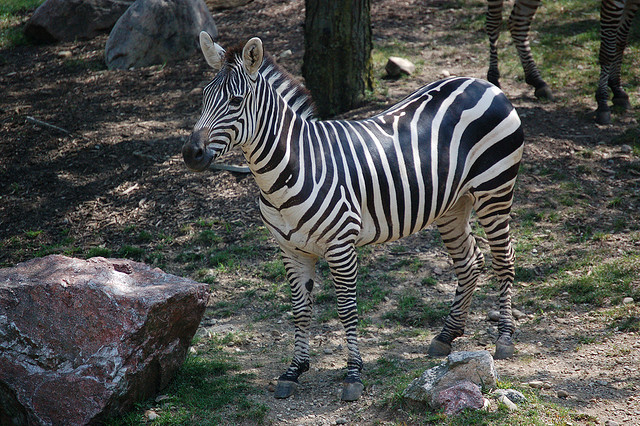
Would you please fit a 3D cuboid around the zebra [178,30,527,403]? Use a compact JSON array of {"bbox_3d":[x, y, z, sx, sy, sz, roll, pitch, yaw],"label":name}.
[{"bbox_3d":[0.415,0.266,11.812,4.688,4.303,1.524,-9,12,-23],"label":"zebra"}]
